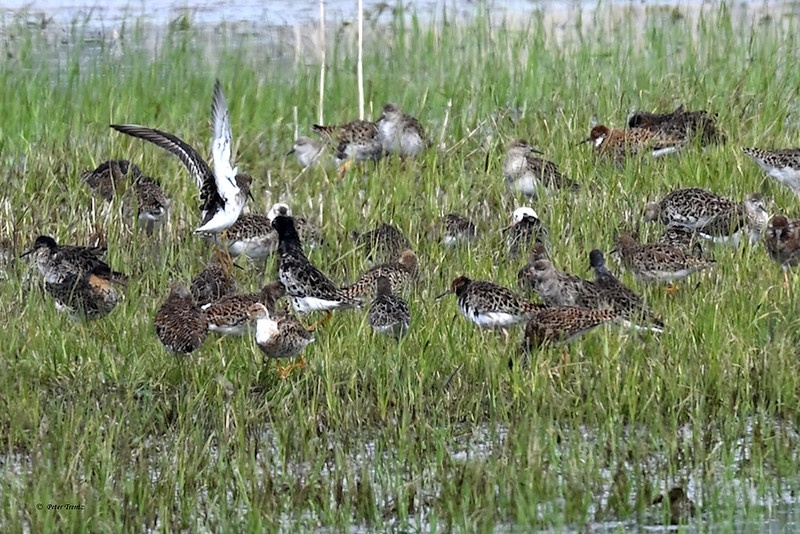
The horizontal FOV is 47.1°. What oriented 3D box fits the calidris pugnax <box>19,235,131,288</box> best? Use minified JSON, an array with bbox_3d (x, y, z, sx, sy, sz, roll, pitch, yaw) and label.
[{"bbox_3d":[-3.290,-0.029,9.275,1.077,0.645,0.374,-9,13,-42],"label":"calidris pugnax"}]
